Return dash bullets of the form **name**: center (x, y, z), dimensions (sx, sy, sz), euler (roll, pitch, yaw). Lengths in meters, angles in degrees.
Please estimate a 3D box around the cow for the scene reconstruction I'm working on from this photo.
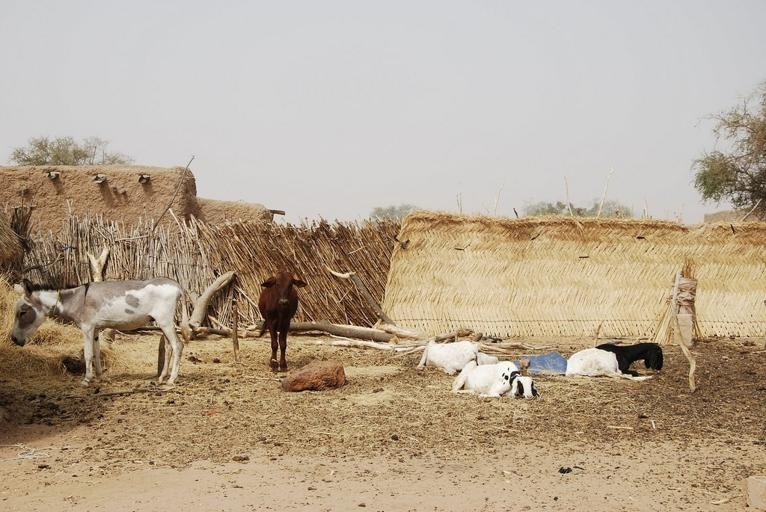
- **cow**: center (-1.814, 1.120, 14.947), dimensions (0.721, 1.678, 1.158), euler (2, -3, -9)

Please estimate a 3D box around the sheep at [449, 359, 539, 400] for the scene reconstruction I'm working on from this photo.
- **sheep**: center (1.742, 1.848, 13.037), dimensions (1.394, 0.458, 0.975), euler (2, 13, 44)

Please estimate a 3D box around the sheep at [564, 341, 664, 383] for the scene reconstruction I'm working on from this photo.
- **sheep**: center (3.679, 1.679, 13.801), dimensions (1.492, 0.575, 0.566), euler (1, -4, 11)

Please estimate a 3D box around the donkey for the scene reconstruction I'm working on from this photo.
- **donkey**: center (-4.505, 1.228, 13.563), dimensions (2.741, 1.622, 0.596), euler (-2, -4, 3)

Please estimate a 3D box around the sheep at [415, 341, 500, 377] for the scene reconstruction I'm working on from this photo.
- **sheep**: center (1.197, 1.734, 14.365), dimensions (1.396, 0.451, 0.984), euler (4, 2, 32)
